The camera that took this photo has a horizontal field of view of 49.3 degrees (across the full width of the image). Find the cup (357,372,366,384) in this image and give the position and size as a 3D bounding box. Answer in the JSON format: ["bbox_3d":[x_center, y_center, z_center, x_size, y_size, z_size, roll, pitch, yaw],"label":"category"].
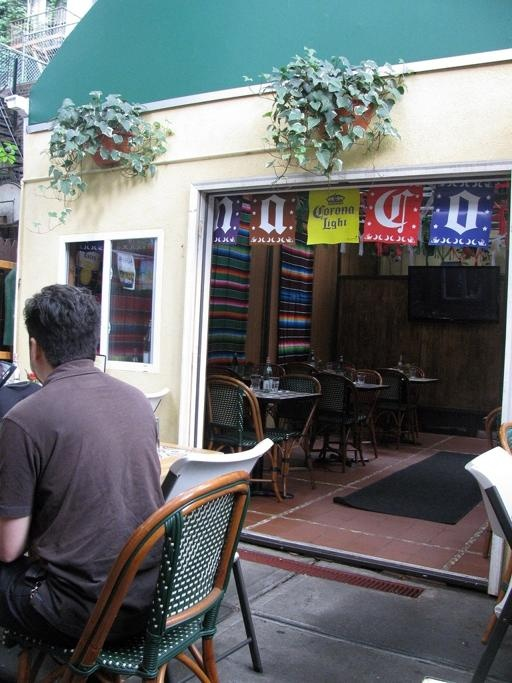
[{"bbox_3d":[1.359,0.478,7.316,0.147,0.158,0.149,0,0,0],"label":"cup"}]

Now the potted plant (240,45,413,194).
[{"bbox_3d":[0.353,-1.158,3.196,0.781,0.483,0.766,-2,17,-26],"label":"potted plant"}]
